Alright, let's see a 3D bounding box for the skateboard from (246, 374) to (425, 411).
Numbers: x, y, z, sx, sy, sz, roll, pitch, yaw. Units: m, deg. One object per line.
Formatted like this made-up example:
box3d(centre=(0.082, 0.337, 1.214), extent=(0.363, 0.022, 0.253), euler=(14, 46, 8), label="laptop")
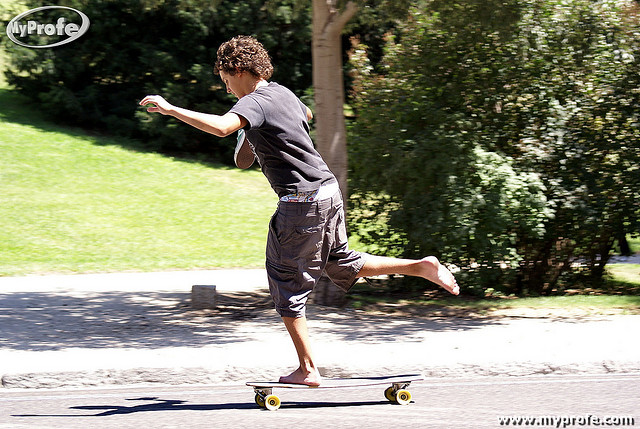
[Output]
box3d(centre=(0.301, 2.015, 9.708), extent=(3.176, 0.215, 0.505), euler=(-1, -1, -8), label="skateboard")
